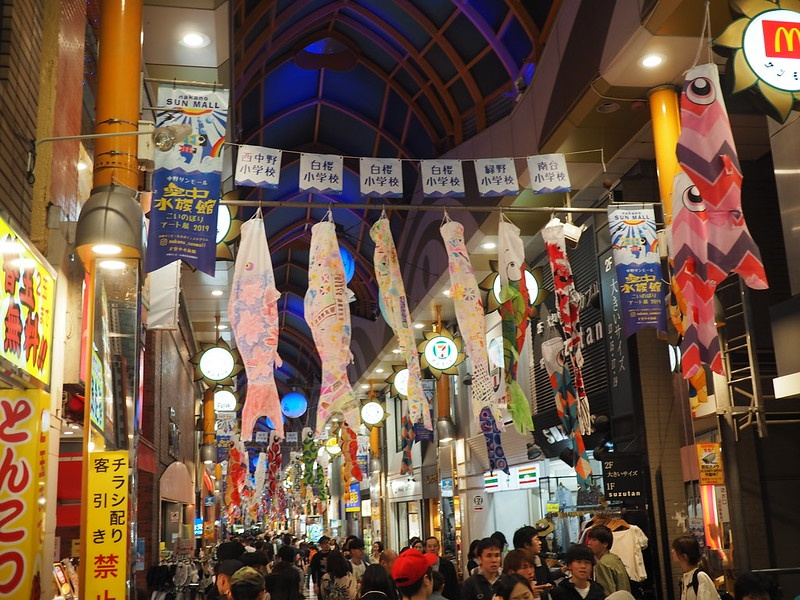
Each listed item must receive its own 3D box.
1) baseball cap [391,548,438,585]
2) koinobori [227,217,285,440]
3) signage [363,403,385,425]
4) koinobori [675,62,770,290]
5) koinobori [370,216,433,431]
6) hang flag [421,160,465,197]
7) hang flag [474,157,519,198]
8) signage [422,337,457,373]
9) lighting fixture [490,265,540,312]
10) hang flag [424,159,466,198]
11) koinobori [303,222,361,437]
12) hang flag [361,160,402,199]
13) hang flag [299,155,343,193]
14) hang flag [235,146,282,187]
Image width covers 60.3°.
[{"bbox_3d":[0.101,1.866,4.807,0.319,0.234,0.284,0,-18,-14],"label":"baseball cap"},{"bbox_3d":[-1.835,0.218,8.730,0.625,2.962,0.387,0,-16,-12],"label":"koinobori"},{"bbox_3d":[-0.862,3.683,22.247,0.660,0.740,0.520,2,-4,0],"label":"signage"},{"bbox_3d":[3.061,-1.207,6.769,0.532,2.344,0.485,-13,-18,30],"label":"koinobori"},{"bbox_3d":[-0.035,-0.031,10.933,0.595,3.328,2.283,-4,-16,2],"label":"koinobori"},{"bbox_3d":[0.622,-1.784,10.119,0.696,0.666,0.117,3,-14,-18],"label":"hang flag"},{"bbox_3d":[1.414,-1.847,10.206,0.568,0.632,0.228,-3,-16,-3],"label":"hang flag"},{"bbox_3d":[0.884,1.244,15.453,0.533,0.569,0.073,-36,-4,-18],"label":"signage"},{"bbox_3d":[2.210,-0.210,12.277,0.646,0.749,0.184,2,-11,-9],"label":"lighting fixture"},{"bbox_3d":[0.622,-1.859,10.171,0.635,0.706,0.514,-3,-17,-3],"label":"hang flag"},{"bbox_3d":[-0.917,0.233,8.978,0.596,2.975,0.654,1,-16,-14],"label":"koinobori"},{"bbox_3d":[-0.273,-1.753,9.901,0.605,0.650,0.107,3,-12,-5],"label":"hang flag"},{"bbox_3d":[-1.094,-1.747,9.537,0.571,0.550,0.121,2,-8,-10],"label":"hang flag"},{"bbox_3d":[-1.930,-1.885,9.364,0.562,0.742,0.498,0,-17,-13],"label":"hang flag"}]
